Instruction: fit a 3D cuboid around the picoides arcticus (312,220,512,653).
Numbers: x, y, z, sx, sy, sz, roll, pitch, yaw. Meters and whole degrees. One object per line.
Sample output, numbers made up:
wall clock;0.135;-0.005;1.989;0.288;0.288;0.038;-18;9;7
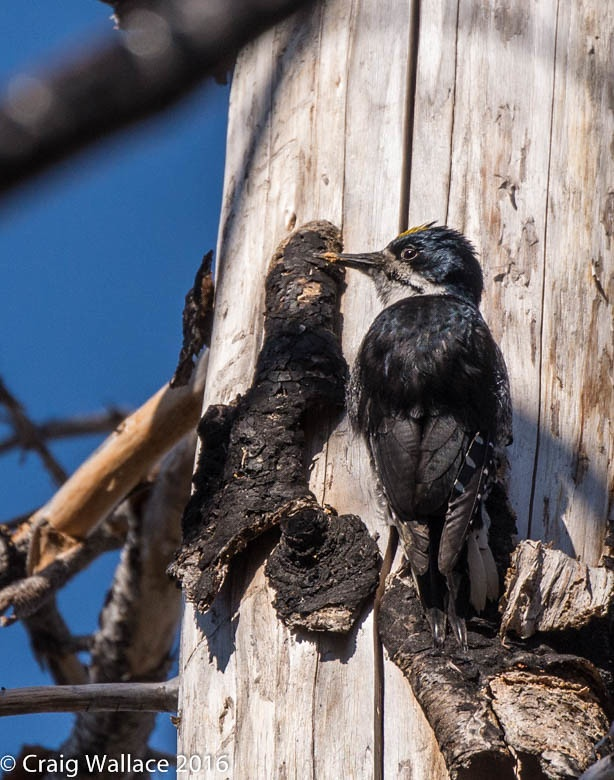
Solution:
picoides arcticus;0.318;0.083;4.820;0.392;0.496;1.322;-2;66;5
